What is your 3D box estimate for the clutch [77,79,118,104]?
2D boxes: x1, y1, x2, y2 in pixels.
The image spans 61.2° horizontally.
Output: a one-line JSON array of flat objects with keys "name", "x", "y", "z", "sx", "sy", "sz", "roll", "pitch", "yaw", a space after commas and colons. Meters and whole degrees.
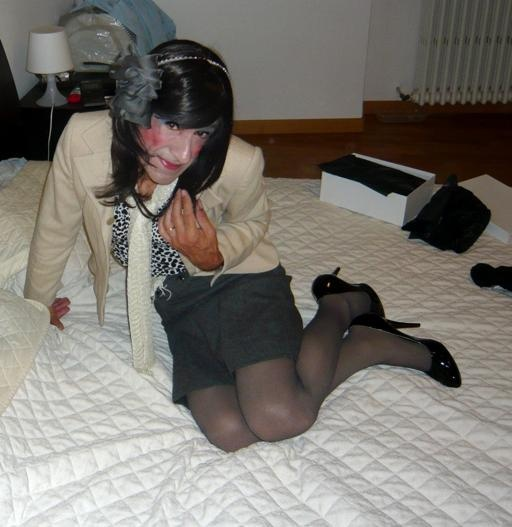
[{"name": "clutch", "x": -0.771, "y": -0.840, "z": 2.155, "sx": 0.182, "sy": 0.088, "sz": 0.246, "roll": -12, "pitch": 43, "yaw": -18}]

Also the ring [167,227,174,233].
[{"name": "ring", "x": -0.179, "y": -0.074, "z": 0.926, "sx": 0.012, "sy": 0.007, "sz": 0.012, "roll": 14, "pitch": 13, "yaw": -3}]

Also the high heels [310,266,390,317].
[{"name": "high heels", "x": 0.309, "y": 0.089, "z": 1.367, "sx": 0.277, "sy": 0.106, "sz": 0.091, "roll": 16, "pitch": 1, "yaw": -24}]

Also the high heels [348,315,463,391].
[{"name": "high heels", "x": 0.405, "y": 0.252, "z": 1.060, "sx": 0.321, "sy": 0.099, "sz": 0.071, "roll": 23, "pitch": 33, "yaw": -42}]

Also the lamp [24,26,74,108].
[{"name": "lamp", "x": -0.929, "y": -0.899, "z": 1.964, "sx": 0.257, "sy": 0.297, "sz": 0.252, "roll": -21, "pitch": 44, "yaw": -37}]
